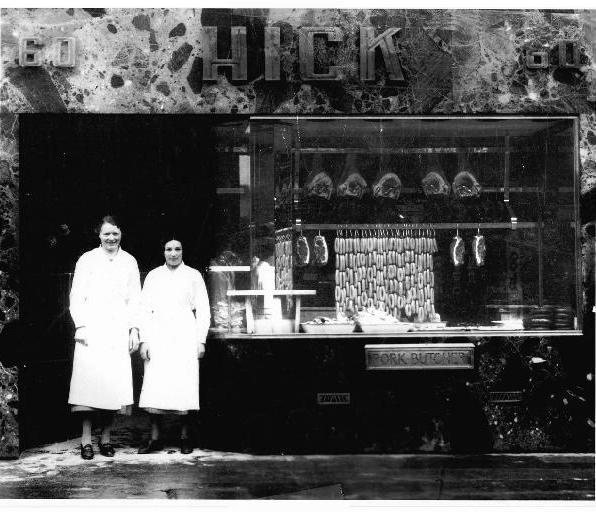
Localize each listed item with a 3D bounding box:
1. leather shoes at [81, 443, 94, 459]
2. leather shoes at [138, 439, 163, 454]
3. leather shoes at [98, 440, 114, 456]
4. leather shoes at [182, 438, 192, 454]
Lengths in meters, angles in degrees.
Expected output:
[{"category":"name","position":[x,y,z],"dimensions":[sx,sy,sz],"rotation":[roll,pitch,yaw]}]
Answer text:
[{"category":"leather shoes","position":[-1.937,1.809,8.317],"dimensions":[0.111,0.142,0.053],"rotation":[-2,2,-14]},{"category":"leather shoes","position":[-1.361,1.782,8.416],"dimensions":[0.260,0.115,0.098],"rotation":[1,-5,-10]},{"category":"leather shoes","position":[-1.766,1.800,8.348],"dimensions":[0.079,0.090,0.195],"rotation":[7,-6,-38]},{"category":"leather shoes","position":[-1.029,1.775,8.362],"dimensions":[0.133,0.141,0.072],"rotation":[1,0,-10]}]
